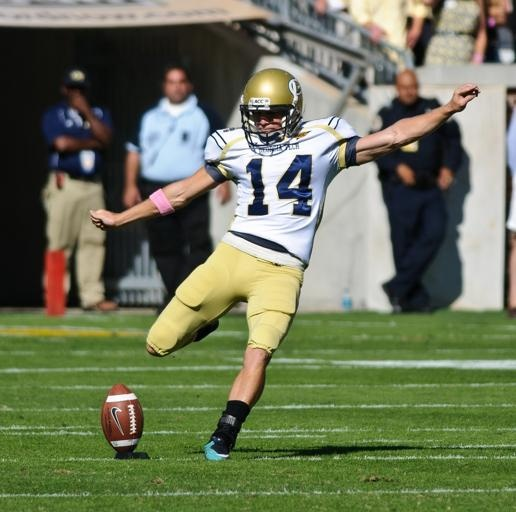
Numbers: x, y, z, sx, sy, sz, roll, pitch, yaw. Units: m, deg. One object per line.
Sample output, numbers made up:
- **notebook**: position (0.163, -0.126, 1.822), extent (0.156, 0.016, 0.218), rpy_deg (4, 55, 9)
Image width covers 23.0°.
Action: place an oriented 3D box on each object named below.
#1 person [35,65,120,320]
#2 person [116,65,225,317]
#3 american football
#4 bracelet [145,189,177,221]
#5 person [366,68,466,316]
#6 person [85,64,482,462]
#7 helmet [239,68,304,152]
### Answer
- **person**: position (-1.624, -0.663, 11.587), extent (0.640, 2.097, 0.628), rpy_deg (4, 9, 14)
- **person**: position (-0.695, -0.697, 11.042), extent (0.670, 2.306, 0.648), rpy_deg (-10, 21, -21)
- **american football**: position (-0.607, 0.731, 5.745), extent (0.184, 0.305, 0.167), rpy_deg (-1, 3, -7)
- **bracelet**: position (-0.462, -0.259, 6.137), extent (0.104, 0.130, 0.043), rpy_deg (-29, -6, 9)
- **person**: position (1.337, -0.562, 10.889), extent (0.811, 2.073, 0.645), rpy_deg (-1, 3, 16)
- **person**: position (0.052, -0.003, 5.940), extent (1.495, 1.779, 0.605), rpy_deg (-1, 3, -1)
- **helmet**: position (0.090, -0.691, 6.009), extent (0.296, 0.353, 0.384), rpy_deg (-1, 28, 17)
